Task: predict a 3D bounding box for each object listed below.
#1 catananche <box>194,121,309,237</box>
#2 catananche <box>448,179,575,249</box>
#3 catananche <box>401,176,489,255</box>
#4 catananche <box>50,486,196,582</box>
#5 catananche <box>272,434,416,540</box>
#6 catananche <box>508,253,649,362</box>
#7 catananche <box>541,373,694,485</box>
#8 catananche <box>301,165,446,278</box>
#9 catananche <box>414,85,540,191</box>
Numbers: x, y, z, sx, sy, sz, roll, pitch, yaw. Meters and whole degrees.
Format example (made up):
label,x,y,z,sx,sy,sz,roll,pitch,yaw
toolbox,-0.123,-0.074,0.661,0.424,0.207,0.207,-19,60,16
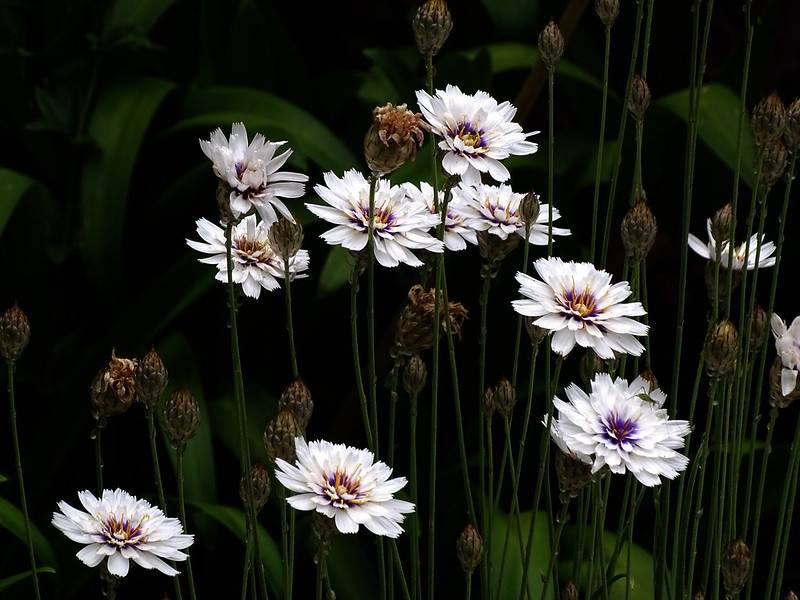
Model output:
label,x,y,z,sx,sy,sz,roll,pitch,yaw
catananche,-0.213,-0.179,1.347,0.162,0.097,0.173,1,-1,-15
catananche,0.146,-0.126,1.436,0.142,0.066,0.195,0,-10,-2
catananche,0.059,-0.126,1.452,0.107,0.047,0.133,9,2,29
catananche,-0.364,0.324,1.341,0.176,0.094,0.193,11,10,-41
catananche,-0.068,0.238,1.294,0.165,0.107,0.071,-9,-3,-1
catananche,0.242,0.014,1.343,0.180,0.081,0.198,0,23,-25
catananche,0.279,0.169,1.313,0.125,0.058,0.146,-7,12,28
catananche,-0.034,-0.108,1.364,0.186,0.113,0.140,-8,-3,-26
catananche,0.111,-0.229,1.367,0.137,0.055,0.141,25,30,27
